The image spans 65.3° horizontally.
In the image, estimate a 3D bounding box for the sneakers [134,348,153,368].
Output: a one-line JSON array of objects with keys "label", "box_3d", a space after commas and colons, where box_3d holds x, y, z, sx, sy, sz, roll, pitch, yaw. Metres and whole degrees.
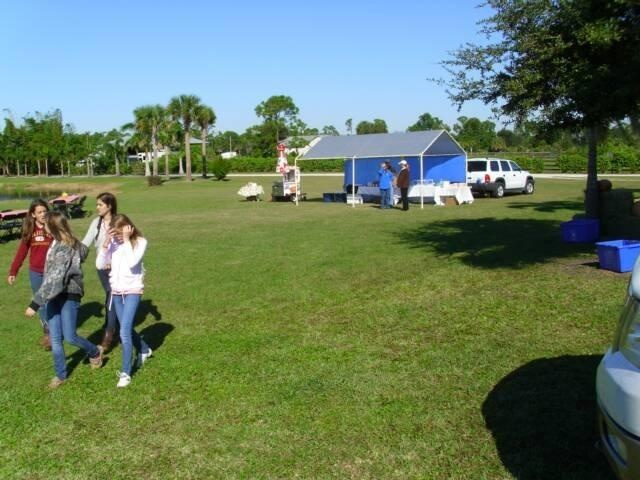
[{"label": "sneakers", "box_3d": [-2.368, 1.557, 6.670, 0.120, 0.313, 0.098, 13, 3, -43]}]

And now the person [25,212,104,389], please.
[{"label": "person", "box_3d": [-3.187, 0.703, 6.153, 0.689, 2.078, 0.531, -6, 12, -22]}]

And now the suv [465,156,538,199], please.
[{"label": "suv", "box_3d": [9.836, -3.550, 27.387, 3.918, 1.916, 2.044, -11, 12, -34]}]

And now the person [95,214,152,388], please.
[{"label": "person", "box_3d": [-2.440, 0.692, 6.226, 0.562, 2.062, 0.692, -7, 13, -27]}]

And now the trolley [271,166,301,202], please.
[{"label": "trolley", "box_3d": [-1.823, -3.160, 27.840, 1.176, 1.896, 1.782, -2, 4, 35]}]

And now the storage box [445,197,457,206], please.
[{"label": "storage box", "box_3d": [6.193, -1.876, 23.772, 0.414, 0.299, 0.417, 2, 7, 42]}]
